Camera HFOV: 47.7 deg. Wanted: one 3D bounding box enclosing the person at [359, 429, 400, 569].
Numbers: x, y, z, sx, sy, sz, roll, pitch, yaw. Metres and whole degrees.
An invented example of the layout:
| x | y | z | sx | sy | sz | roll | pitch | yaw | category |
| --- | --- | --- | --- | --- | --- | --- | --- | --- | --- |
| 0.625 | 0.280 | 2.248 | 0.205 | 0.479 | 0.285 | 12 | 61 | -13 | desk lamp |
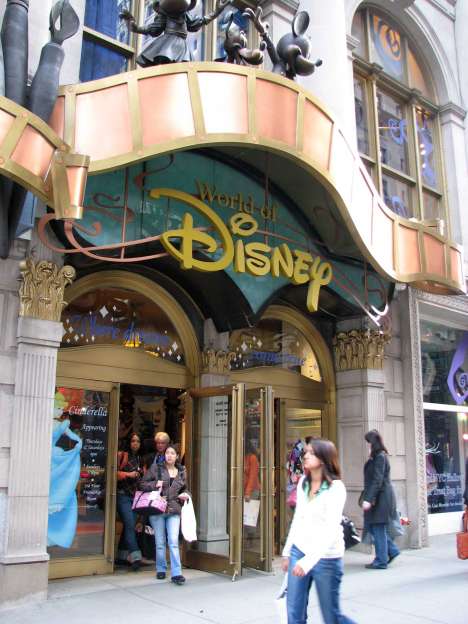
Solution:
| x | y | z | sx | sy | sz | roll | pitch | yaw | category |
| --- | --- | --- | --- | --- | --- | --- | --- | --- | --- |
| 1.892 | 2.488 | 6.958 | 0.474 | 1.779 | 0.852 | -4 | -14 | 13 | person |

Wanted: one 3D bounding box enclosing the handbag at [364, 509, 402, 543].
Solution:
| x | y | z | sx | sy | sz | roll | pitch | yaw | category |
| --- | --- | --- | --- | --- | --- | --- | --- | --- | --- |
| 2.056 | 2.907 | 7.102 | 0.483 | 0.479 | 0.482 | 7 | -15 | -32 | handbag |

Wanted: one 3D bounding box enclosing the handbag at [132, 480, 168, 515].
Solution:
| x | y | z | sx | sy | sz | roll | pitch | yaw | category |
| --- | --- | --- | --- | --- | --- | --- | --- | --- | --- |
| -0.960 | 2.122 | 5.903 | 0.438 | 0.292 | 0.210 | -13 | -17 | 40 | handbag |

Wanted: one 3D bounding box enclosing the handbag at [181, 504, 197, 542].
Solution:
| x | y | z | sx | sy | sz | roll | pitch | yaw | category |
| --- | --- | --- | --- | --- | --- | --- | --- | --- | --- |
| -0.507 | 2.349 | 5.945 | 0.160 | 0.469 | 0.251 | 0 | -13 | -6 | handbag |

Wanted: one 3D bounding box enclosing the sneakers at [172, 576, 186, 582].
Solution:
| x | y | z | sx | sy | sz | roll | pitch | yaw | category |
| --- | --- | --- | --- | --- | --- | --- | --- | --- | --- |
| -0.590 | 2.893 | 5.709 | 0.066 | 0.078 | 0.184 | 11 | -25 | -29 | sneakers |
